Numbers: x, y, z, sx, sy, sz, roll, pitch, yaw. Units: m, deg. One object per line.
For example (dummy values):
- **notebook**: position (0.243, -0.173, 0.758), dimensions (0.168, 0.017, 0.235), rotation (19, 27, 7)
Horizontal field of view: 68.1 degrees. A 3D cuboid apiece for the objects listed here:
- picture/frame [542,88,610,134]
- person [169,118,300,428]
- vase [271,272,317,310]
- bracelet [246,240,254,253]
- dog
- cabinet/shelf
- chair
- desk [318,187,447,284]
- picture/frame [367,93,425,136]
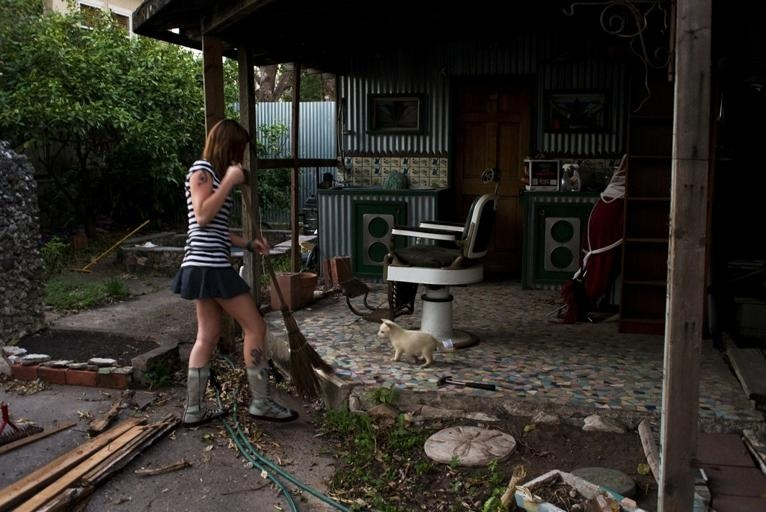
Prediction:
- **picture/frame**: position (2.908, -2.147, 8.528), dimensions (0.943, 0.738, 0.133), rotation (2, -11, 11)
- **person**: position (-1.324, 0.139, 4.813), dimensions (0.843, 2.567, 0.508), rotation (-1, 10, -12)
- **vase**: position (-1.036, 0.418, 7.469), dimensions (0.437, 0.345, 0.381), rotation (-8, 13, -10)
- **bracelet**: position (-1.183, -0.090, 5.134), dimensions (0.020, 0.083, 0.089), rotation (-4, 55, -40)
- **dog**: position (0.326, 0.820, 5.622), dimensions (0.802, 0.517, 0.353), rotation (4, 5, 15)
- **cabinet/shelf**: position (3.224, -0.532, 6.284), dimensions (0.519, 2.829, 0.536), rotation (2, 1, -11)
- **chair**: position (0.532, 0.112, 6.218), dimensions (1.345, 1.682, 0.987), rotation (4, 9, 24)
- **desk**: position (-0.035, -0.562, 9.357), dimensions (1.858, 1.683, 1.133), rotation (2, 34, 1)
- **picture/frame**: position (0.220, -2.270, 9.081), dimensions (0.925, 0.598, 0.051), rotation (4, 10, 15)
